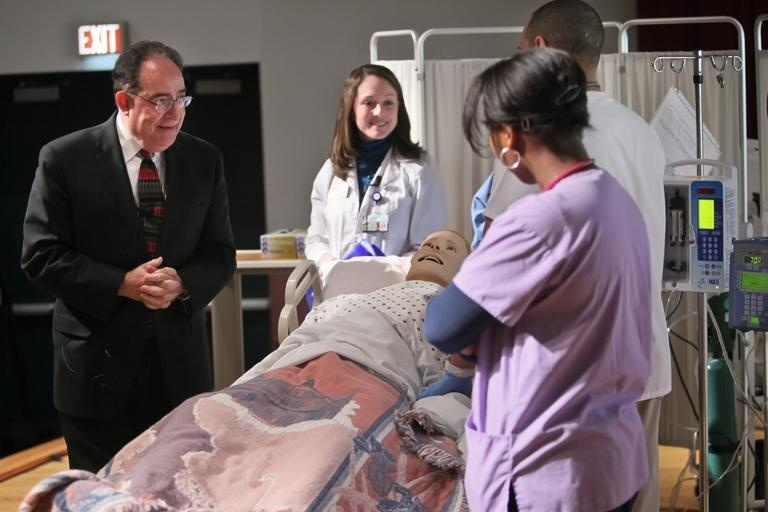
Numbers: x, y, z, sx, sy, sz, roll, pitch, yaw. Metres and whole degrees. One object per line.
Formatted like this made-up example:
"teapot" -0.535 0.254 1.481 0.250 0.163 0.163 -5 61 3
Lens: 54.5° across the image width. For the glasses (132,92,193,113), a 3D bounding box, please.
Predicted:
"glasses" -0.998 -0.682 3.339 0.258 0.087 0.100 -1 4 -24
